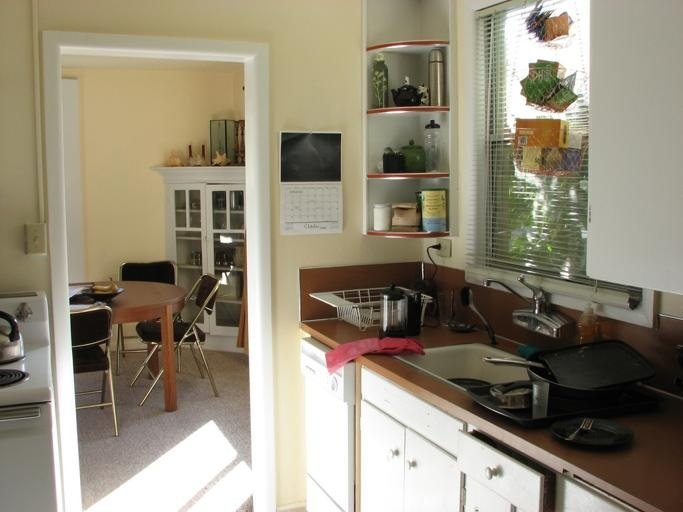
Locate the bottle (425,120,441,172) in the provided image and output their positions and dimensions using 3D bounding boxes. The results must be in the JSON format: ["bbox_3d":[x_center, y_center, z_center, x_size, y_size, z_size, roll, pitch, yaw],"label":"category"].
[{"bbox_3d":[0.492,-0.617,3.031,0.077,0.283,0.103,-2,10,-12],"label":"bottle"}]

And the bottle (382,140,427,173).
[{"bbox_3d":[0.336,-0.546,2.991,0.223,0.161,0.163,1,5,-1],"label":"bottle"}]

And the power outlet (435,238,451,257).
[{"bbox_3d":[0.590,-0.051,3.186,0.014,0.076,0.103,-3,8,-26],"label":"power outlet"}]

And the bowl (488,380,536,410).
[{"bbox_3d":[0.641,0.507,2.001,0.131,0.045,0.080,-3,5,-33],"label":"bowl"}]

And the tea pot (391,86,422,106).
[{"bbox_3d":[0.351,-0.876,2.966,0.163,0.132,0.150,0,10,0],"label":"tea pot"}]

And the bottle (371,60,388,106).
[{"bbox_3d":[0.214,-0.997,3.097,0.096,0.299,0.105,0,10,0],"label":"bottle"}]

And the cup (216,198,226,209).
[{"bbox_3d":[-1.303,-0.567,5.848,0.113,0.123,0.113,1,0,0],"label":"cup"}]

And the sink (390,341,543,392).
[{"bbox_3d":[0.550,0.521,2.525,0.340,0.204,0.334,-1,5,-23],"label":"sink"}]

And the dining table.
[{"bbox_3d":[-1.774,0.641,4.858,1.064,0.840,1.118,-5,14,-24],"label":"dining table"}]

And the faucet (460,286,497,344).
[{"bbox_3d":[0.714,0.305,2.833,0.052,0.258,0.104,-23,-16,1],"label":"faucet"}]

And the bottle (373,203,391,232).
[{"bbox_3d":[0.227,-0.219,3.084,0.137,0.152,0.134,0,0,-27],"label":"bottle"}]

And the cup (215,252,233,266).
[{"bbox_3d":[-1.287,0.035,5.921,0.162,0.118,0.152,2,10,0],"label":"cup"}]

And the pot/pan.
[{"bbox_3d":[0.922,0.421,2.042,0.426,0.160,0.247,1,10,6],"label":"pot/pan"}]

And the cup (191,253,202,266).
[{"bbox_3d":[-1.610,0.029,6.031,0.134,0.127,0.126,0,6,0],"label":"cup"}]

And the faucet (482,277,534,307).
[{"bbox_3d":[0.820,0.172,2.661,0.143,0.104,0.383,-2,10,-12],"label":"faucet"}]
